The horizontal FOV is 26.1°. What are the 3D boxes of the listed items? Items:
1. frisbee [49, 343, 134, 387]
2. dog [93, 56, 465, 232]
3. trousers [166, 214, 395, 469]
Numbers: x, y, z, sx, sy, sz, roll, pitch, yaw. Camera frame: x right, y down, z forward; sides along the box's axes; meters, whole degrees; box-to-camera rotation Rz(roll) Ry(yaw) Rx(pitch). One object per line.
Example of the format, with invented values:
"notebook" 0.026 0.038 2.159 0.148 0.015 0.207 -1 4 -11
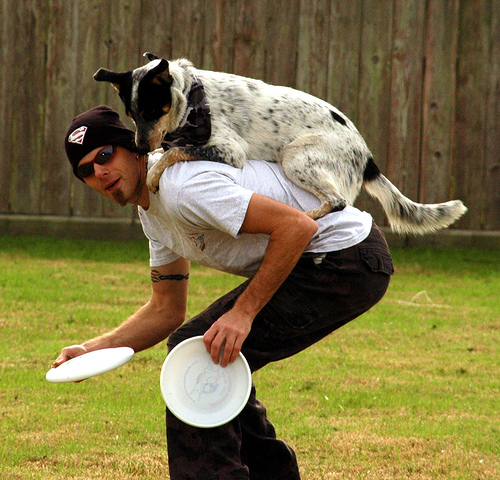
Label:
"frisbee" -0.814 0.627 5.439 0.434 0.208 0.195 7 5 5
"dog" 0.141 -0.532 6.051 2.016 0.946 0.676 5 4 0
"trousers" 0.130 0.539 5.543 1.166 1.344 0.469 2 6 -31
